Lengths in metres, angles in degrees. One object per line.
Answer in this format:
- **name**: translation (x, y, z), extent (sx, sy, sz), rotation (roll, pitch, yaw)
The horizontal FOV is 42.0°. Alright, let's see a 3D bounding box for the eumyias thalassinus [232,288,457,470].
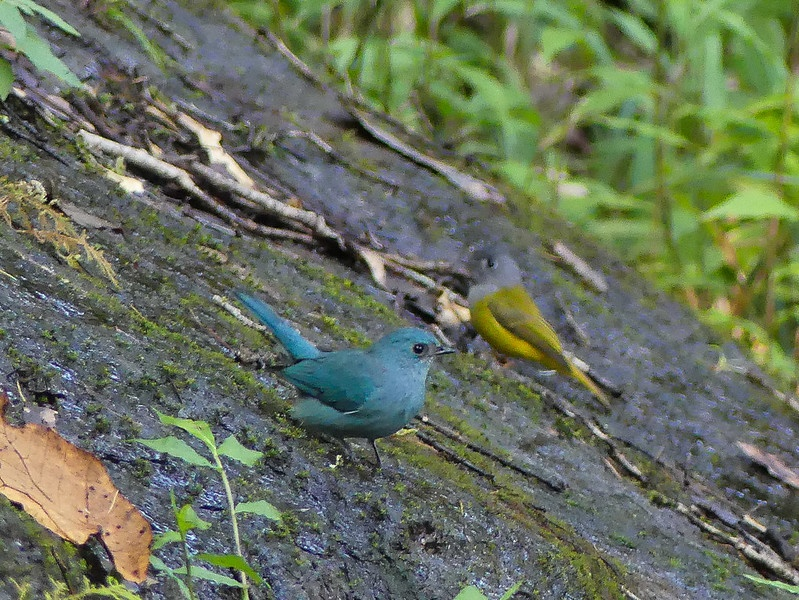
- **eumyias thalassinus**: translation (-0.321, 0.395, 4.931), extent (1.147, 0.716, 0.479), rotation (9, 4, 20)
